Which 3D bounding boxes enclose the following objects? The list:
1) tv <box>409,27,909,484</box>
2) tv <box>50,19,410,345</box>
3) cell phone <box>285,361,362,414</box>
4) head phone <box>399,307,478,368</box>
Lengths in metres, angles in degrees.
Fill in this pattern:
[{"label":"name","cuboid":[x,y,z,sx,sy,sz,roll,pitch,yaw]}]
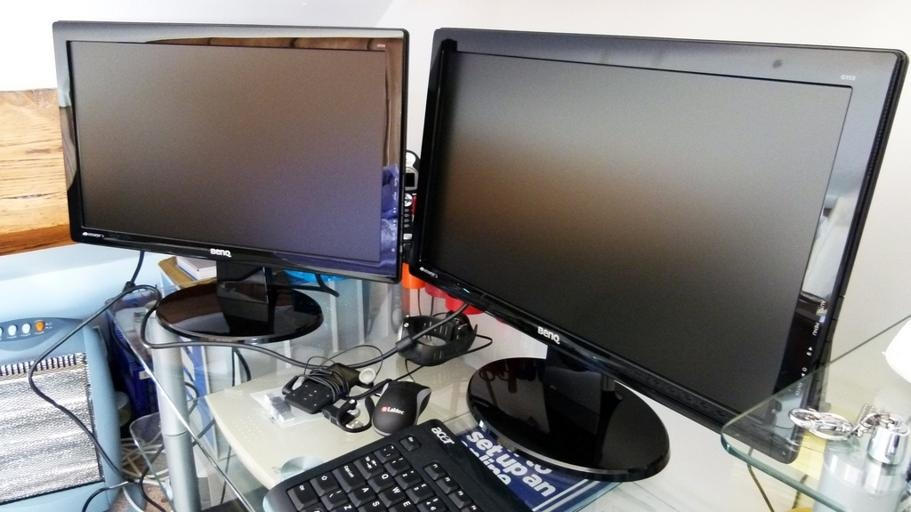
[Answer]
[{"label":"tv","cuboid":[0.423,-0.003,1.246,0.781,0.682,0.406,31,37,28]},{"label":"tv","cuboid":[-0.525,-0.188,1.553,0.939,0.634,0.319,6,20,10]},{"label":"cell phone","cuboid":[-0.315,0.305,1.461,0.111,0.042,0.126,22,45,29]},{"label":"head phone","cuboid":[-0.038,0.204,1.622,0.199,0.075,0.145,-11,31,-35]}]
